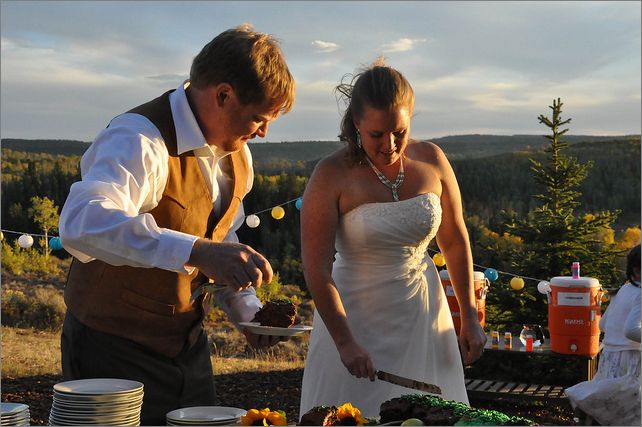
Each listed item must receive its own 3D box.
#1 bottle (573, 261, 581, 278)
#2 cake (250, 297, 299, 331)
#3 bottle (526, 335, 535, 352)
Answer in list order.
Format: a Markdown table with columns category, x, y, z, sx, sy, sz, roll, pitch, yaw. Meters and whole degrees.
| category | x | y | z | sx | sy | sz | roll | pitch | yaw |
| --- | --- | --- | --- | --- | --- | --- | --- | --- | --- |
| bottle | 4.854 | 1.092 | 13.013 | 0.131 | 0.296 | 0.295 | -1 | 0 | 26 |
| cake | -0.579 | 1.245 | 8.740 | 0.410 | 0.461 | 0.305 | 1 | -2 | -6 |
| bottle | 4.203 | 2.629 | 13.783 | 0.146 | 0.331 | 0.220 | -1 | 0 | 19 |
